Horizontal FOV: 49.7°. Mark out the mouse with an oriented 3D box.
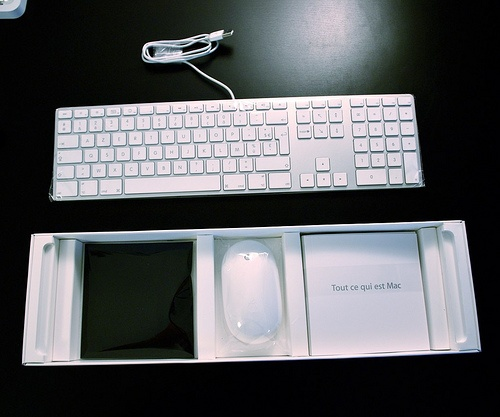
[{"bbox_3d":[-0.001,0.160,1.025,0.112,0.058,0.224,0,47,-6],"label":"mouse"}]
